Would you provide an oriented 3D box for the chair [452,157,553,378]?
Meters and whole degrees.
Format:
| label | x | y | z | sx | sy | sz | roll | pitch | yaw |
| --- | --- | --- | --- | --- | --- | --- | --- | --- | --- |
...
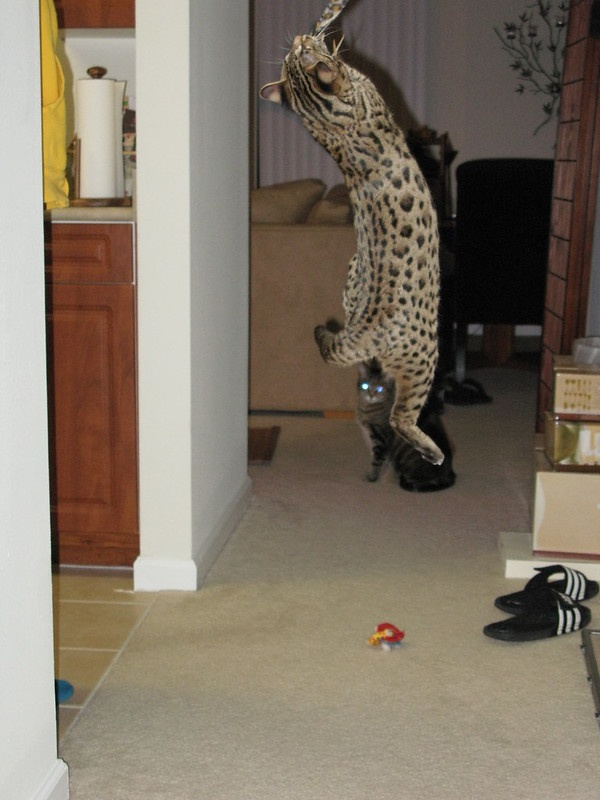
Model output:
| label | x | y | z | sx | sy | sz | roll | pitch | yaw |
| --- | --- | --- | --- | --- | --- | --- | --- | --- | --- |
| chair | 0.977 | -0.637 | 4.091 | 0.440 | 1.052 | 0.303 | 2 | 11 | 10 |

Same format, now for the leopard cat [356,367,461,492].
| label | x | y | z | sx | sy | sz | roll | pitch | yaw |
| --- | --- | --- | --- | --- | --- | --- | --- | --- | --- |
| leopard cat | 0.336 | 0.109 | 2.698 | 0.327 | 0.378 | 0.153 | 12 | 64 | 12 |

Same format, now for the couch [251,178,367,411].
| label | x | y | z | sx | sy | sz | roll | pitch | yaw |
| --- | --- | --- | --- | --- | --- | --- | --- | --- | --- |
| couch | 0.027 | -0.399 | 3.337 | 0.543 | 0.858 | 0.922 | -1 | 11 | -1 |

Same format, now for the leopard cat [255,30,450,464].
| label | x | y | z | sx | sy | sz | roll | pitch | yaw |
| --- | --- | --- | --- | --- | --- | --- | --- | --- | --- |
| leopard cat | 0.158 | -0.363 | 2.276 | 0.591 | 1.102 | 0.316 | -3 | 11 | -16 |

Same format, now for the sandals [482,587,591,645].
| label | x | y | z | sx | sy | sz | roll | pitch | yaw |
| --- | --- | --- | --- | --- | --- | --- | --- | --- | --- |
| sandals | 0.486 | 0.442 | 1.741 | 0.266 | 0.092 | 0.087 | -8 | 10 | -6 |

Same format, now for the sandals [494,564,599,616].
| label | x | y | z | sx | sy | sz | roll | pitch | yaw |
| --- | --- | --- | --- | --- | --- | --- | --- | --- | --- |
| sandals | 0.543 | 0.417 | 1.856 | 0.254 | 0.080 | 0.095 | -9 | 12 | -8 |
